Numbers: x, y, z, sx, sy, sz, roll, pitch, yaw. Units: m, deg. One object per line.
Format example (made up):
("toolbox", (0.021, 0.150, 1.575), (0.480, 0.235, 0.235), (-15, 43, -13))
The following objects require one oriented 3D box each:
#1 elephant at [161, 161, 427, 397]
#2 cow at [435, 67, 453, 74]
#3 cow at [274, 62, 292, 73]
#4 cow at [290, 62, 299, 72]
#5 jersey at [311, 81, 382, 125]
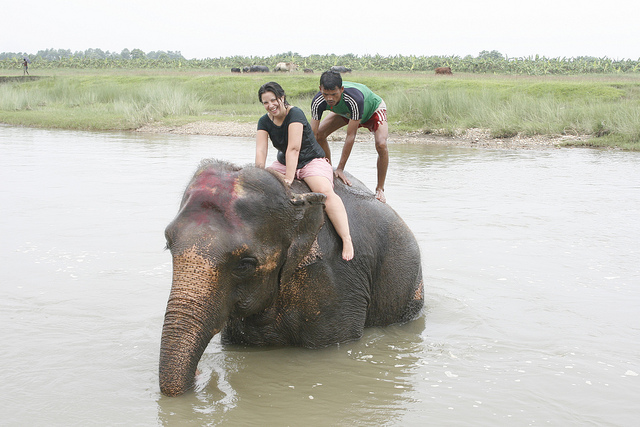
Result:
("elephant", (0.365, 0.414, 4.275), (1.107, 1.556, 2.612), (0, 2, 41))
("cow", (8.577, -9.852, 40.745), (1.197, 0.409, 0.413), (-8, 14, -24))
("cow", (-2.916, -11.884, 47.775), (1.007, 0.652, 1.536), (6, 15, 35))
("cow", (-1.996, -12.309, 49.342), (0.690, 0.582, 1.272), (13, 48, -13))
("jersey", (0.195, -1.082, 6.046), (0.481, 0.359, 0.775), (-13, -5, 5))
